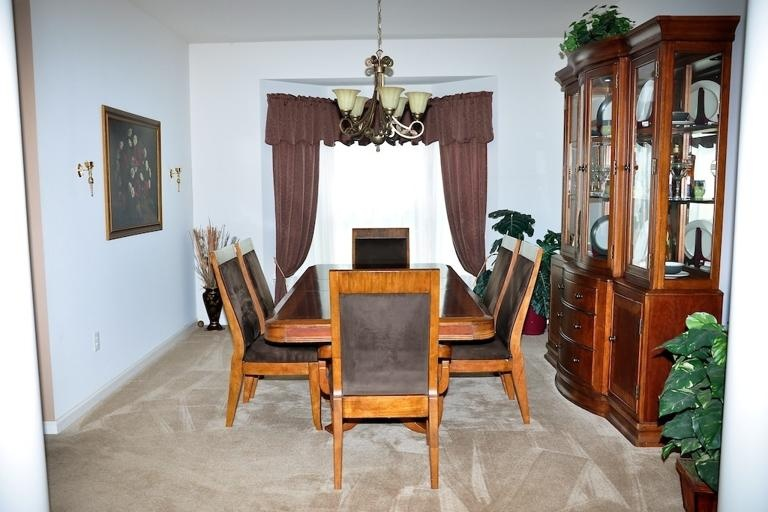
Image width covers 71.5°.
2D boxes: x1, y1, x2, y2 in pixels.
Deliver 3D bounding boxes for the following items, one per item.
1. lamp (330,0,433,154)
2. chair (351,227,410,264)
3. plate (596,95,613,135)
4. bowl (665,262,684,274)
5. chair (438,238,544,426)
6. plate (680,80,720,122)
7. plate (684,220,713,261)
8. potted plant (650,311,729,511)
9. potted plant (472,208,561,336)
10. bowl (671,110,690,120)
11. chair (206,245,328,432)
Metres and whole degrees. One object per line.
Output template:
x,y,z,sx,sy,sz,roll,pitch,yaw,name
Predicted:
-0.083,-1.712,5.137,1.068,1.322,2.724,1,13,4,lamp
-0.035,-0.120,5.439,0.561,0.329,0.159,-2,13,-8,chair
1.672,-1.059,4.060,0.072,0.223,0.148,0,7,-1,plate
1.957,0.074,3.616,0.089,0.047,0.094,-1,-3,0,bowl
0.716,0.515,4.191,0.994,1.279,0.967,4,7,27,chair
2.087,-1.022,3.503,0.187,0.266,0.072,7,15,30,plate
2.097,-0.109,3.571,0.163,0.250,0.232,4,19,30,plate
1.685,0.894,2.965,0.344,1.084,0.948,7,15,29,potted plant
1.648,0.191,6.535,1.162,1.939,1.299,2,3,15,potted plant
1.967,-0.939,3.552,0.071,0.048,0.075,0,9,0,bowl
-0.833,0.559,4.211,0.937,1.344,0.929,-8,11,-32,chair
